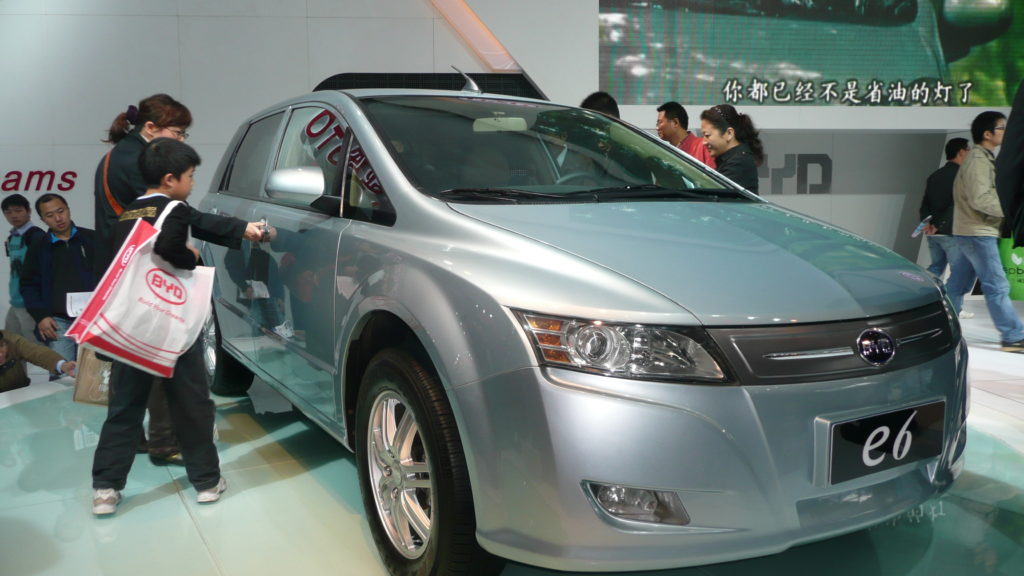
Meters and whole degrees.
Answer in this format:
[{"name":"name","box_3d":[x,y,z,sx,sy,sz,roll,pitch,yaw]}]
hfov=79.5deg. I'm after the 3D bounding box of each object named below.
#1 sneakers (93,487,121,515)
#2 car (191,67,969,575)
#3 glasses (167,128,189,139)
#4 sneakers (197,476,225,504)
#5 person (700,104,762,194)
[{"name":"sneakers","box_3d":[-2.596,1.347,3.937,0.103,0.091,0.222,0,6,-23]},{"name":"car","box_3d":[-0.259,0.111,4.231,2.465,2.086,4.589,-1,2,-33]},{"name":"glasses","box_3d":[-2.487,-1.142,4.546,0.152,0.043,0.147,2,7,30]},{"name":"sneakers","box_3d":[-1.961,1.314,4.048,0.091,0.092,0.220,1,7,1]},{"name":"person","box_3d":[2.031,-1.281,5.663,0.546,0.707,0.969,-1,12,16]}]
